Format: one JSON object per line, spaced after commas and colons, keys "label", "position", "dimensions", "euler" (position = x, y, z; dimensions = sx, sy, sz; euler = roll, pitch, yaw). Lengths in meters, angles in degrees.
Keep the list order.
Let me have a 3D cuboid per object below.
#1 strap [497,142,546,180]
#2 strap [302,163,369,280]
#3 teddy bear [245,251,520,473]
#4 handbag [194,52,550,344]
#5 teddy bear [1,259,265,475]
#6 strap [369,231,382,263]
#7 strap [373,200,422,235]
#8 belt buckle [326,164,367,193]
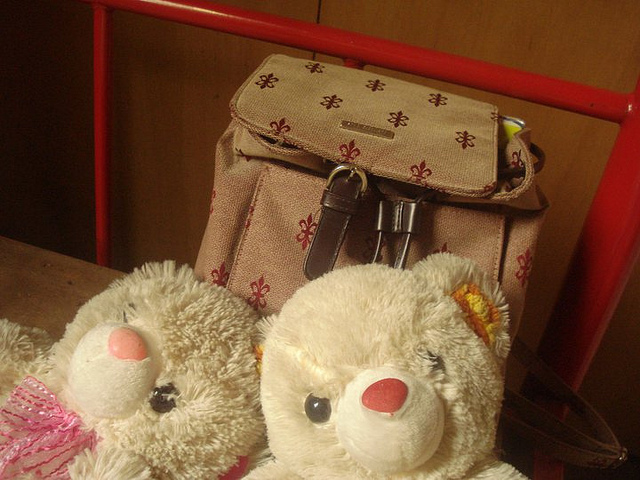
{"label": "strap", "position": [0.306, -0.106, 1.007], "dimensions": [0.017, 0.064, 0.071], "euler": [41, 54, -21]}
{"label": "strap", "position": [0.019, -0.032, 0.962], "dimensions": [0.060, 0.216, 0.049], "euler": [18, 10, 9]}
{"label": "teddy bear", "position": [0.082, 0.166, 0.919], "dimensions": [0.364, 0.363, 0.246], "euler": [-4, -2, 1]}
{"label": "handbag", "position": [0.081, -0.008, 1.102], "dimensions": [0.509, 0.525, 0.299], "euler": [10, 13, 6]}
{"label": "teddy bear", "position": [-0.254, 0.178, 0.896], "dimensions": [0.340, 0.180, 0.251], "euler": [-1, 38, -15]}
{"label": "strap", "position": [0.084, 0.008, 0.970], "dimensions": [0.007, 0.037, 0.036], "euler": [4, 18, 14]}
{"label": "strap", "position": [0.112, -0.022, 0.976], "dimensions": [0.066, 0.043, 0.055], "euler": [8, 56, 1]}
{"label": "belt buckle", "position": [0.041, -0.090, 0.957], "dimensions": [0.034, 0.050, 0.014], "euler": [16, 20, 5]}
